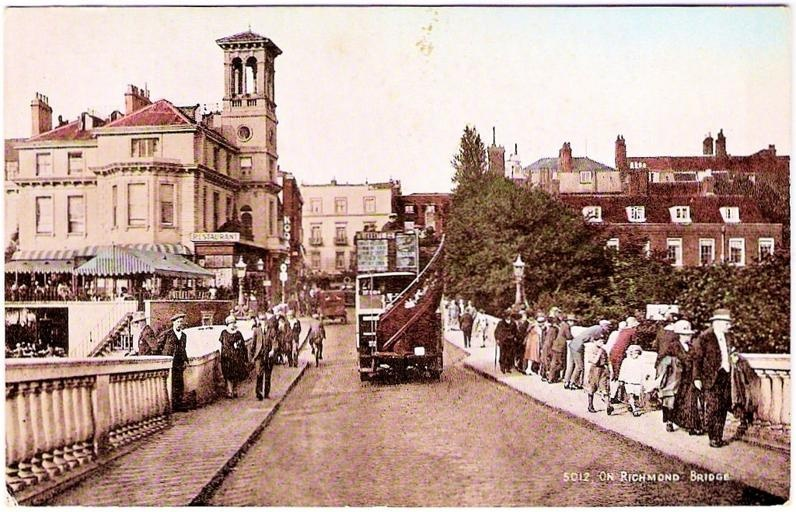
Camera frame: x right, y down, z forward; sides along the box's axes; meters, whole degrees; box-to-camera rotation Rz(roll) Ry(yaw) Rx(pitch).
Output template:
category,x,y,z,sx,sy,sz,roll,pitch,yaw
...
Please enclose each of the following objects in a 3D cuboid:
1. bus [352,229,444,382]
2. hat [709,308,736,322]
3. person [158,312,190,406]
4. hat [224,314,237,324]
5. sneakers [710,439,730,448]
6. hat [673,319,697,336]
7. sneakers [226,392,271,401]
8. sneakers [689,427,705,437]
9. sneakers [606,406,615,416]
category,x,y,z,sx,sy,sz,roll,pitch,yaw
bus,0.049,1.408,20.740,1.832,1.843,3.136,0,2,0
hat,5.978,1.080,17.066,0.382,0.148,0.352,2,-1,9
person,-4.263,2.018,17.786,0.543,1.788,0.330,1,-4,-28
hat,-3.486,1.295,19.233,0.287,0.163,0.220,-10,25,-18
sneakers,5.923,3.465,17.220,0.180,0.086,0.231,1,-4,-20
hat,5.388,1.349,17.551,0.335,0.175,0.266,-3,6,0
sneakers,-3.100,2.863,19.033,0.540,0.092,0.087,5,-43,5
sneakers,5.585,3.258,17.351,0.204,0.070,0.211,1,-1,-4
sneakers,4.120,3.000,18.049,0.147,0.154,0.368,-3,-9,5
